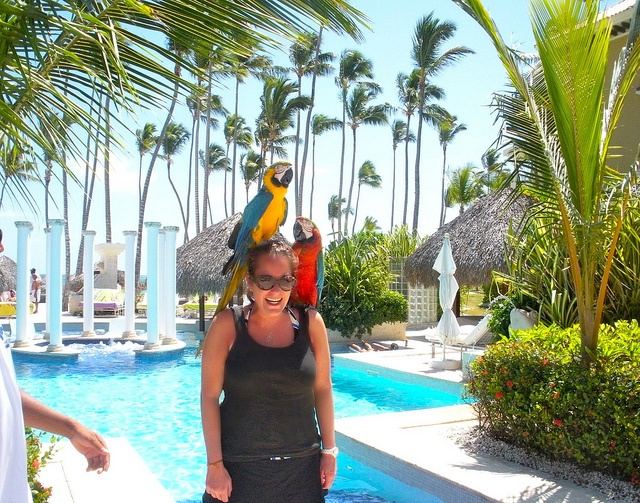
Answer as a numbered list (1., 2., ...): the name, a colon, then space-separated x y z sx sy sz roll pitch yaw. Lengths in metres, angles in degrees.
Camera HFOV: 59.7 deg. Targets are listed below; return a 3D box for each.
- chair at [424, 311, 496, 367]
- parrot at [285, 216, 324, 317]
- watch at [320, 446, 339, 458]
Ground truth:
1. chair: 2.497 1.746 10.591 1.126 1.345 1.406 1 4 -26
2. parrot: -0.104 0.099 4.255 0.225 0.779 0.406 9 15 17
3. watch: 0.043 1.131 3.096 0.067 0.049 0.064 -6 -11 33
